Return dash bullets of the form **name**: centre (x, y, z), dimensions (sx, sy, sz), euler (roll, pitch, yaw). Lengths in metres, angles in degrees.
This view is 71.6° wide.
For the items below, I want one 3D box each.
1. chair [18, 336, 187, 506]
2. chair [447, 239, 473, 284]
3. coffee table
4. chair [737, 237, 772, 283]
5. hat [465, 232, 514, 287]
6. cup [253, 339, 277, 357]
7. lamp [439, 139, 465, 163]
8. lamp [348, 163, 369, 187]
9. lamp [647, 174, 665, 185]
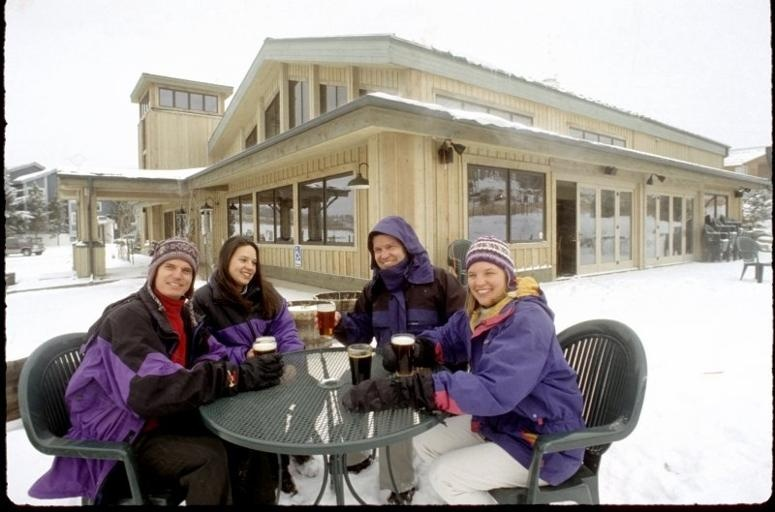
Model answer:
- **chair**: centre (-2.280, 1.267, 4.130), dimensions (0.850, 1.484, 0.947), euler (-1, 1, -41)
- **chair**: centre (1.151, 0.063, 8.777), dimensions (0.487, 0.661, 0.558), euler (-3, 16, -3)
- **coffee table**: centre (-0.554, 1.198, 4.411), dimensions (1.272, 0.772, 1.333), euler (-4, 9, 3)
- **chair**: centre (7.562, 0.059, 11.132), dimensions (0.541, 0.948, 0.840), euler (0, 1, 35)
- **hat**: centre (0.810, 0.042, 4.464), dimensions (0.325, 0.424, 0.423), euler (6, 0, -45)
- **cup**: centre (-1.017, 0.747, 4.466), dimensions (0.143, 0.133, 0.146), euler (-2, 0, 0)
- **lamp**: centre (1.061, -1.784, 9.144), dimensions (0.355, 0.348, 0.371), euler (1, 7, -7)
- **lamp**: centre (-0.510, -1.407, 9.226), dimensions (0.325, 0.399, 0.908), euler (-1, 1, -3)
- **lamp**: centre (6.724, -1.936, 13.531), dimensions (0.275, 0.277, 0.459), euler (8, 17, 32)
